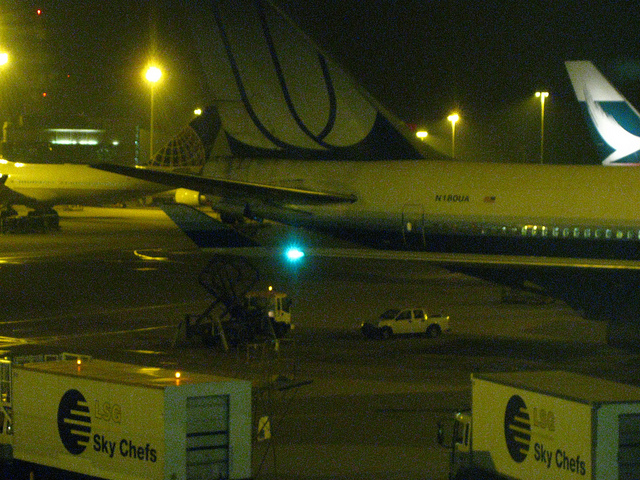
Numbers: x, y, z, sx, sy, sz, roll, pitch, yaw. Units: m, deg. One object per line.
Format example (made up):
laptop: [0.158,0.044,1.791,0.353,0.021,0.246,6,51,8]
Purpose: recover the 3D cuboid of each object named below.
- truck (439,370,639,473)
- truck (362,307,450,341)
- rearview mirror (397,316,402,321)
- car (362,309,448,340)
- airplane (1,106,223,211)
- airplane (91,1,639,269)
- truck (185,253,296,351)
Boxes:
truck: [4.555,3.822,17.715,2.200,1.879,3.532,0,-3,-28]
truck: [3.033,2.976,29.946,2.353,0.832,1.259,2,-3,-15]
rearview mirror: [2.792,2.744,29.628,0.104,0.121,0.239,-4,-10,25]
car: [2.970,3.031,29.916,2.239,0.795,1.204,2,-3,-19]
airplane: [-24.858,-8.692,93.614,20.033,8.531,20.105,3,6,2]
airplane: [3.155,-2.854,34.100,14.286,5.259,14.683,4,12,26]
truck: [-2.824,2.119,29.061,3.640,3.037,1.854,-6,1,-32]
